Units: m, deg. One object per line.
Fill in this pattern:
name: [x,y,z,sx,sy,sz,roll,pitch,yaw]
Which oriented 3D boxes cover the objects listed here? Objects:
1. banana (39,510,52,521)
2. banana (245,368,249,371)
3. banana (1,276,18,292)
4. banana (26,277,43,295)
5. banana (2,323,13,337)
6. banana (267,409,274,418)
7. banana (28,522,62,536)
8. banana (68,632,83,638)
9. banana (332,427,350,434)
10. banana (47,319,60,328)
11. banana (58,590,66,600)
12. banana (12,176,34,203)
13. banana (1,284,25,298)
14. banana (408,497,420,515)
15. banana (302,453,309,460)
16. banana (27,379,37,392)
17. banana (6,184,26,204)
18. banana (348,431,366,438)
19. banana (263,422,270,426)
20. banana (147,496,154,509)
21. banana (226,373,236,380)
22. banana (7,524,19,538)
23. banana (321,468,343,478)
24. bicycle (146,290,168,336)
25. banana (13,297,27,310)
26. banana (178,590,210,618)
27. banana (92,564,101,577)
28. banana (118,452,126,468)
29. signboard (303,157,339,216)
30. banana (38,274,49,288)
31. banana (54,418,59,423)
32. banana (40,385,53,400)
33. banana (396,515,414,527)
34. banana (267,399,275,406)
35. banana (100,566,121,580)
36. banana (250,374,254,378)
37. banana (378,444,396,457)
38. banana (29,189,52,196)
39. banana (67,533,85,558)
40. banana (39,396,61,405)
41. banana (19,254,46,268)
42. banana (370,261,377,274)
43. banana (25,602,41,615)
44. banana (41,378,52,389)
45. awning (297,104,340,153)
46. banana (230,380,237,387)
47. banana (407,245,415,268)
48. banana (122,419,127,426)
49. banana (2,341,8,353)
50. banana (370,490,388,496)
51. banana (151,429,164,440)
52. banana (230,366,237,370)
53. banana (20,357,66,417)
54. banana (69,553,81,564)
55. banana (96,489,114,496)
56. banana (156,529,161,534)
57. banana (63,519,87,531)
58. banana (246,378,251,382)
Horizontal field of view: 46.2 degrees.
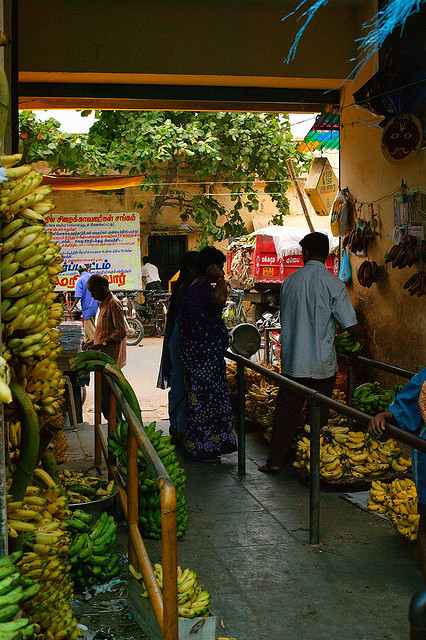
banana: [-0.630,0.719,1.865,0.032,0.014,0.052,-1,39,-50]
banana: [0.460,0.696,6.969,0.030,0.037,0.050,-1,-23,-2]
banana: [-0.558,-0.098,1.349,0.048,0.025,0.015,-27,13,1]
banana: [-0.510,-0.098,1.419,0.053,0.018,0.015,-38,3,26]
banana: [-0.570,0.029,1.378,0.028,0.035,0.010,8,3,5]
banana: [0.640,1.060,5.638,0.062,0.085,0.022,14,-21,-27]
banana: [-0.595,0.729,1.756,0.108,0.036,0.029,-11,7,-14]
banana: [-0.506,1.157,1.840,0.039,0.015,0.040,-12,-26,28]
banana: [1.154,0.992,4.527,0.055,0.075,0.215,9,0,36]
banana: [-0.522,0.009,1.638,0.027,0.024,0.082,-34,0,-1]
banana: [-0.573,1.031,1.866,0.013,0.014,0.028,2,2,2]
banana: [-0.524,-0.359,1.373,0.019,0.026,0.075,29,35,-7]
banana: [-0.546,-0.076,1.356,0.060,0.030,0.022,-37,-45,29]
banana: [1.221,1.145,3.057,0.047,0.079,0.108,1,0,6]
banana: [0.768,1.145,4.187,0.050,0.041,0.042,-11,-20,-20]
banana: [-0.569,0.206,1.559,0.028,0.040,0.015,1,-1,-20]
banana: [-0.526,-0.333,1.320,0.021,0.025,0.079,22,23,-5]
banana: [1.272,1.012,4.417,0.090,0.029,0.048,-4,8,-7]
banana: [0.587,1.152,5.542,0.033,0.011,0.044,24,36,37]
banana: [-0.405,1.160,3.186,0.039,0.072,0.023,15,19,21]
banana: [0.226,0.739,6.496,0.174,0.044,0.181,0,1,0]
banana: [-0.590,0.621,1.465,0.025,0.052,0.041,1,0,-15]
banana: [0.954,1.235,4.017,0.193,0.067,0.048,1,0,-21]
bicycle: [-1.738,-0.209,15.153,0.530,1.412,1.235,1,0,-13]
banana: [-0.532,-0.046,1.373,0.012,0.015,0.046,36,39,4]
banana: [-0.075,1.141,2.006,0.088,0.034,0.074,0,7,-29]
banana: [-0.619,1.318,2.626,0.040,0.051,0.028,1,0,-12]
banana: [-0.601,0.920,3.262,0.047,0.133,0.029,-12,15,-27]
signboard: [1.497,-1.888,6.879,0.327,0.856,0.682,1,-1,-23]
banana: [-0.505,-0.115,1.481,0.008,0.030,0.022,17,6,30]
banana: [-1.497,0.965,4.744,0.030,0.031,0.007,-14,-47,27]
banana: [-0.531,0.227,1.587,0.018,0.068,0.021,27,-6,-19]
banana: [1.192,1.254,3.102,0.040,0.033,0.120,-13,-6,-4]
banana: [0.672,0.974,5.869,0.067,0.017,0.066,-18,16,45]
banana: [-0.554,1.359,2.727,0.128,0.043,0.029,-19,34,-36]
banana: [0.510,0.756,6.701,0.031,0.053,0.029,0,46,-3]
banana: [1.446,1.111,4.202,0.166,0.039,0.061,26,50,32]
banana: [-0.505,-0.367,1.457,0.016,0.020,0.060,20,13,19]
banana: [-0.703,1.165,2.576,0.059,0.037,0.127,-17,23,22]
banana: [-0.534,0.257,1.629,0.068,0.019,0.024,-10,9,-14]
banana: [-0.509,-0.164,1.399,0.094,0.027,0.032,-15,7,25]
banana: [1.705,-0.561,5.304,0.028,0.107,0.076,5,-8,-15]
banana: [-0.582,0.925,1.598,0.028,0.035,0.102,34,-45,-9]
banana: [-0.527,0.199,1.577,0.012,0.044,0.013,33,-10,7]
awning: [1.416,-2.527,6.599,0.475,0.392,0.996,1,0,10]
banana: [0.258,0.817,6.412,0.066,0.113,0.230,1,0,-8]
banana: [1.825,-0.599,4.624,0.064,0.187,0.114,0,-1,13]
banana: [-0.573,0.656,3.199,0.014,0.056,0.040,-30,12,1]
banana: [-0.593,0.075,1.410,0.013,0.037,0.011,8,-1,27]
banana: [1.160,1.215,3.520,0.131,0.047,0.034,5,18,-20]
banana: [-0.394,0.791,3.409,0.104,0.032,0.035,-43,-8,25]
banana: [0.282,0.661,6.931,0.081,0.021,0.089,6,6,32]
banana: [-0.543,0.212,1.585,0.084,0.190,0.159,1,0,3]
banana: [-0.710,1.216,2.549,0.063,0.053,0.031,1,-1,-32]
banana: [-0.709,1.104,3.194,0.076,0.020,0.048,13,2,-29]
banana: [-0.354,1.340,3.186,0.037,0.026,0.045,-2,-1,-7]
banana: [-0.747,1.101,2.685,0.111,0.057,0.030,7,19,19]
banana: [0.472,0.801,6.709,0.019,0.069,0.015,-35,19,42]
